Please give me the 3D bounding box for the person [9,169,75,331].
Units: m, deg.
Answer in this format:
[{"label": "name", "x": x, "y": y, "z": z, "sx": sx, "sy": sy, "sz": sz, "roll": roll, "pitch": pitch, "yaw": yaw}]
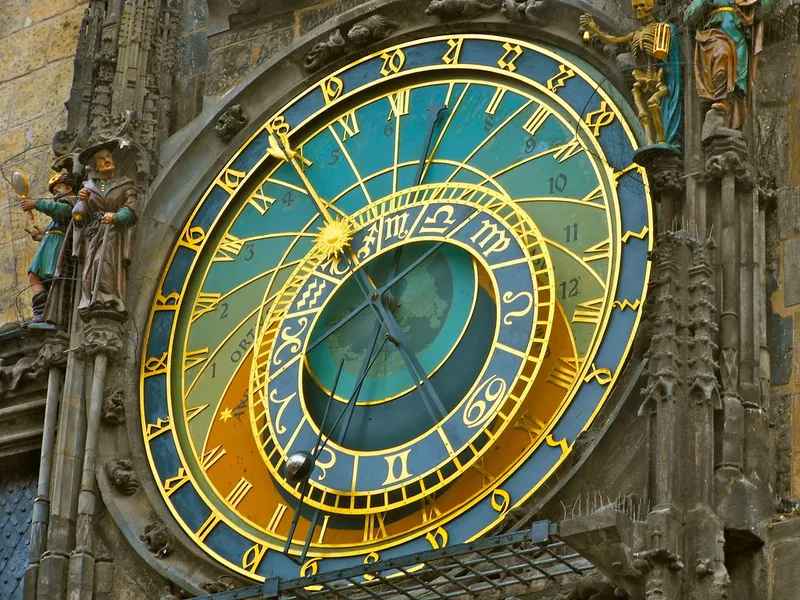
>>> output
[{"label": "person", "x": -3.953, "y": -0.542, "z": 27.496, "sx": 0.652, "sy": 0.776, "sz": 1.818, "roll": 13, "pitch": 45, "yaw": -15}]
